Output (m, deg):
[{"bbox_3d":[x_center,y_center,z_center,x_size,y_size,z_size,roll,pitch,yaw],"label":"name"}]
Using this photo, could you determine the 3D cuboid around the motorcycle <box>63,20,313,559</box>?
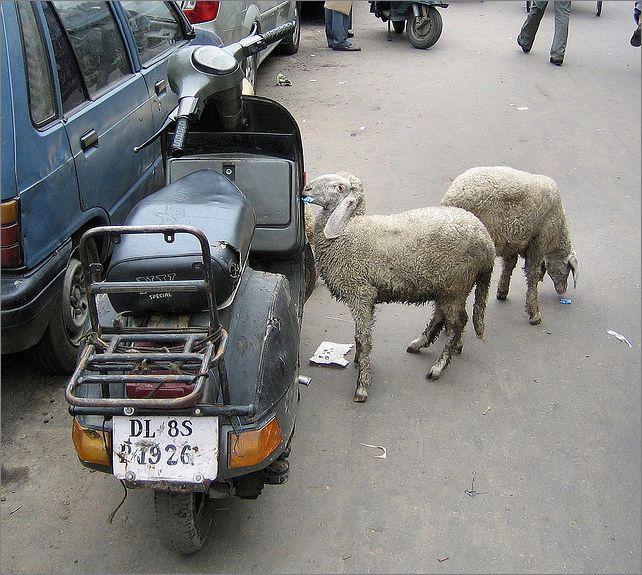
[{"bbox_3d":[-0.112,-0.491,3.435,0.943,2.026,3.336,1,42,4],"label":"motorcycle"}]

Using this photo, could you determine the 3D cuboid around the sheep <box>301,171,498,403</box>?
[{"bbox_3d":[0.432,-0.014,4.007,1.231,1.195,0.827,11,36,17],"label":"sheep"}]
